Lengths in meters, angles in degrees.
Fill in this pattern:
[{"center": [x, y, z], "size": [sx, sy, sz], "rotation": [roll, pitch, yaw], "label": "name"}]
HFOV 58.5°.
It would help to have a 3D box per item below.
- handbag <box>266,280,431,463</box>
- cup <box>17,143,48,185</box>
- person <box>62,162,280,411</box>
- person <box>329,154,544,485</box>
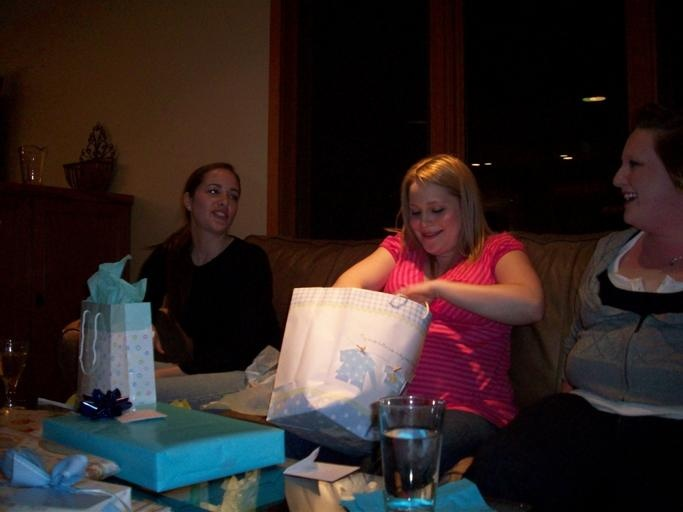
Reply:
[{"center": [0.013, 0.238, 1.504], "size": [0.331, 0.360, 0.327], "rotation": [17, -18, -18], "label": "handbag"}, {"center": [-1.624, -0.485, 3.207], "size": [0.122, 0.248, 0.296], "rotation": [-1, 0, -25], "label": "cup"}, {"center": [-0.577, 0.052, 2.447], "size": [0.559, 0.896, 0.679], "rotation": [7, 0, -3], "label": "person"}, {"center": [0.212, 0.177, 1.886], "size": [0.685, 0.945, 0.591], "rotation": [1, -5, 2], "label": "person"}]
